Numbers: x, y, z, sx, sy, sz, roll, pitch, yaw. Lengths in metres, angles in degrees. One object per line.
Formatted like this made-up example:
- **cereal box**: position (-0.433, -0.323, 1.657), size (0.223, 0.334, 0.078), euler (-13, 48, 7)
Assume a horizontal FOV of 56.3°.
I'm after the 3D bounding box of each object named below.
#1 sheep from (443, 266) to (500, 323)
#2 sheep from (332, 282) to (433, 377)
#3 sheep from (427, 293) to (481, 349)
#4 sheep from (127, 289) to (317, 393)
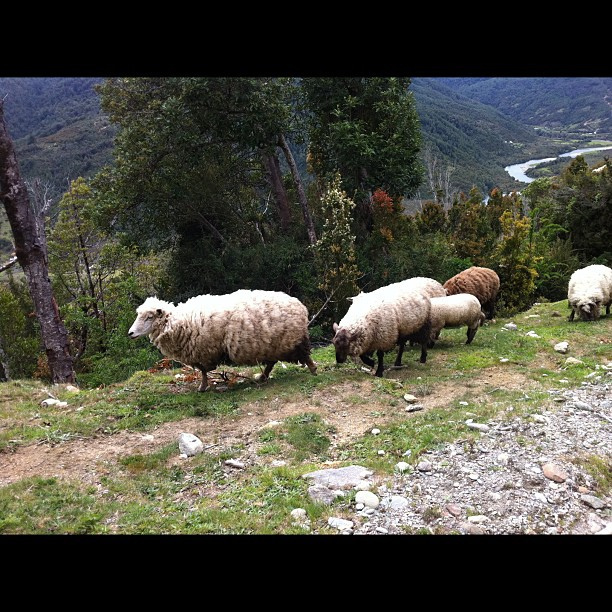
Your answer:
- **sheep**: position (3.639, -0.256, 12.871), size (1.652, 1.355, 0.777), euler (-8, 15, -28)
- **sheep**: position (1.403, 0.467, 10.234), size (2.331, 1.584, 1.023), euler (-14, 16, -37)
- **sheep**: position (2.700, 0.251, 11.006), size (1.643, 0.963, 0.509), euler (-3, 17, -20)
- **sheep**: position (-1.248, 0.500, 9.768), size (3.355, 1.823, 1.298), euler (-5, 5, -7)
